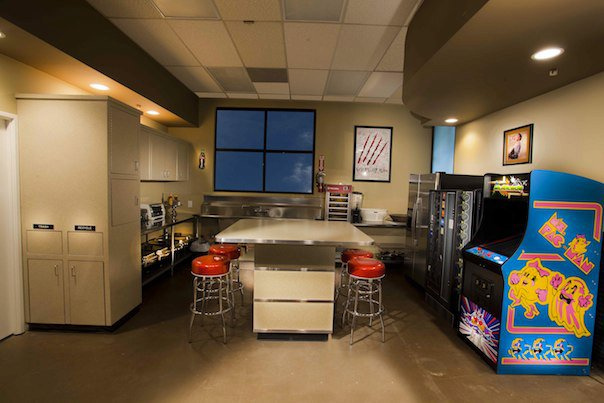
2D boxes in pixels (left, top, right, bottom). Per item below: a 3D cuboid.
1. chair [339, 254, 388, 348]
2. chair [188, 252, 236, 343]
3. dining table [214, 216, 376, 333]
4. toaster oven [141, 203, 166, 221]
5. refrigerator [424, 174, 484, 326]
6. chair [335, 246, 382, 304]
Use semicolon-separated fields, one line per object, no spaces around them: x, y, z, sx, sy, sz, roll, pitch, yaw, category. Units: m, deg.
0.812;1.252;5.277;0.688;0.964;0.708;3;2;26;chair
-1.172;1.230;5.219;0.680;0.964;0.667;0;3;32;chair
-0.111;0.998;5.286;1.703;1.364;1.120;0;3;0;dining table
-2.338;0.171;6.340;0.175;0.245;0.442;0;3;8;toaster oven
2.095;0.739;5.774;0.377;1.834;0.810;-1;3;-20;refrigerator
0.778;1.122;5.509;0.556;0.756;0.559;36;-33;-29;chair
